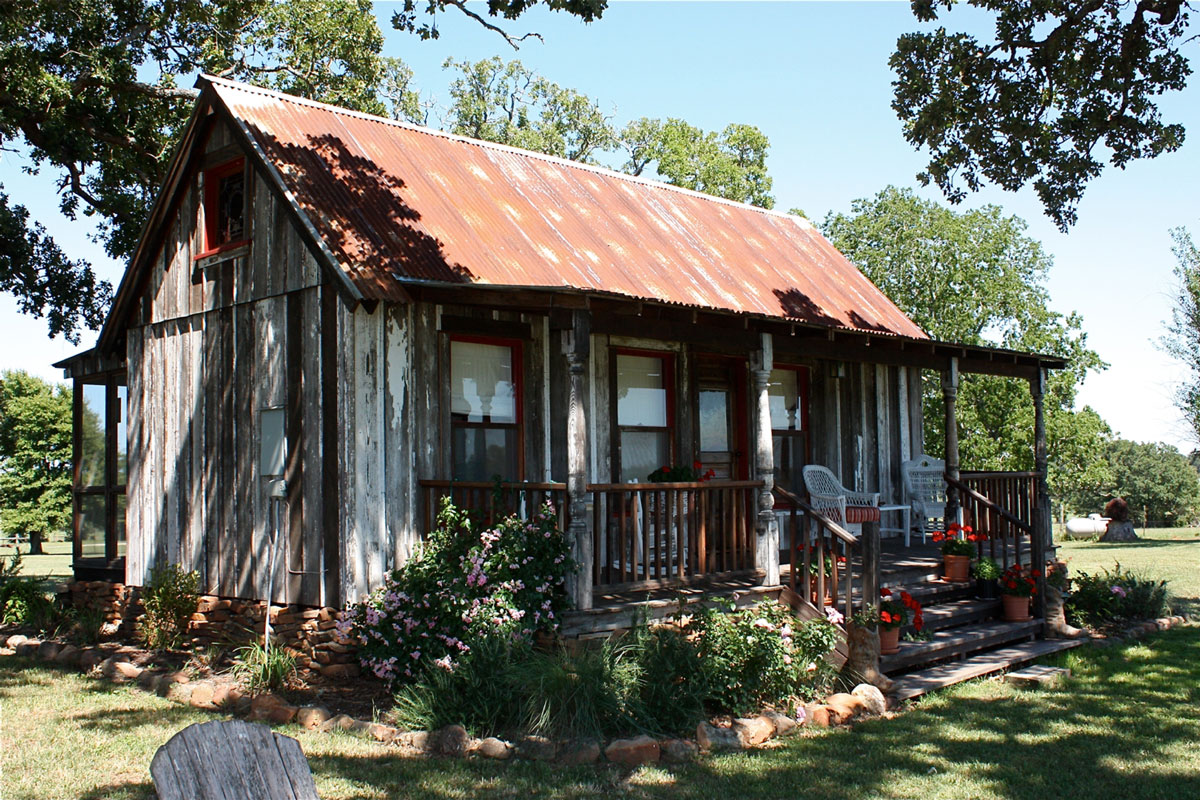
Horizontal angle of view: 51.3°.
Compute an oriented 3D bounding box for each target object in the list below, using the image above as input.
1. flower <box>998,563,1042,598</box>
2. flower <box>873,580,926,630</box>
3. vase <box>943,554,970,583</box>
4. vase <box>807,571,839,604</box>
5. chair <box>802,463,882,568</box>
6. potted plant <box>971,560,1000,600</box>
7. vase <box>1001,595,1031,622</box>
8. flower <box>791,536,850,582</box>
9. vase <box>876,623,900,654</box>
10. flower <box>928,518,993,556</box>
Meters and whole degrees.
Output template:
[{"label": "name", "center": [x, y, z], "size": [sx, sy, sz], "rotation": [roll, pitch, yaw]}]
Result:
[{"label": "flower", "center": [6.895, 2.972, 20.626], "size": [0.530, 0.483, 0.556], "rotation": [3, -7, -25]}, {"label": "flower", "center": [4.469, 3.068, 18.554], "size": [0.717, 0.820, 0.888], "rotation": [2, -2, 2]}, {"label": "vase", "center": [5.901, 2.761, 20.651], "size": [0.406, 0.335, 0.427], "rotation": [2, -7, 12]}, {"label": "vase", "center": [3.261, 2.784, 18.342], "size": [0.448, 0.525, 0.474], "rotation": [0, -1, -15]}, {"label": "chair", "center": [4.553, 1.907, 22.749], "size": [1.377, 2.149, 1.495], "rotation": [1, -4, -43]}, {"label": "potted plant", "center": [6.366, 2.979, 20.658], "size": [0.505, 0.598, 0.489], "rotation": [1, -6, -9]}, {"label": "vase", "center": [6.815, 3.385, 20.429], "size": [0.379, 0.321, 0.399], "rotation": [2, -7, -12]}, {"label": "flower", "center": [3.244, 2.393, 18.714], "size": [0.887, 0.359, 0.951], "rotation": [2, -5, 6]}, {"label": "vase", "center": [4.224, 3.445, 18.156], "size": [0.381, 0.325, 0.420], "rotation": [1, -6, -2]}, {"label": "flower", "center": [6.121, 2.310, 21.061], "size": [0.747, 0.624, 0.753], "rotation": [4, -5, -33]}]
